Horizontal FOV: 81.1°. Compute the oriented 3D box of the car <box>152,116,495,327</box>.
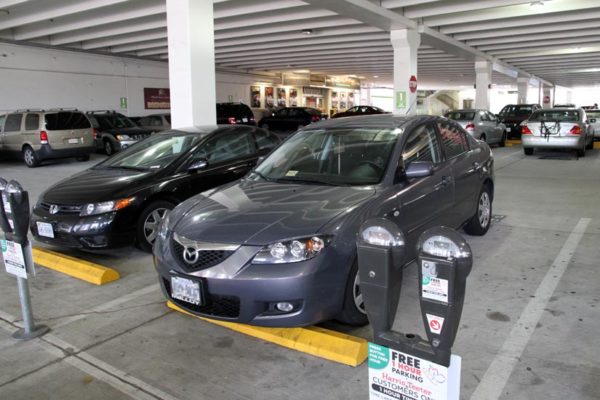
[{"bbox_3d":[0.603,-0.143,3.989,1.931,1.225,3.978,9,18,43],"label":"car"}]

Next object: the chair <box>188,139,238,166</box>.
[{"bbox_3d":[-1.321,-0.795,5.630,0.576,0.187,0.390,-17,31,-32],"label":"chair"}]

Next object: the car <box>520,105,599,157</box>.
[{"bbox_3d":[9.834,-2.641,13.398,2.511,1.860,1.687,-10,16,-38],"label":"car"}]

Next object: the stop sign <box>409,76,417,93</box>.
[{"bbox_3d":[4.567,-4.765,14.302,0.104,0.658,0.517,11,17,39],"label":"stop sign"}]

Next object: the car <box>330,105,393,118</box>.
[{"bbox_3d":[4.437,-6.684,25.864,2.355,0.950,5.661,4,12,19],"label":"car"}]
